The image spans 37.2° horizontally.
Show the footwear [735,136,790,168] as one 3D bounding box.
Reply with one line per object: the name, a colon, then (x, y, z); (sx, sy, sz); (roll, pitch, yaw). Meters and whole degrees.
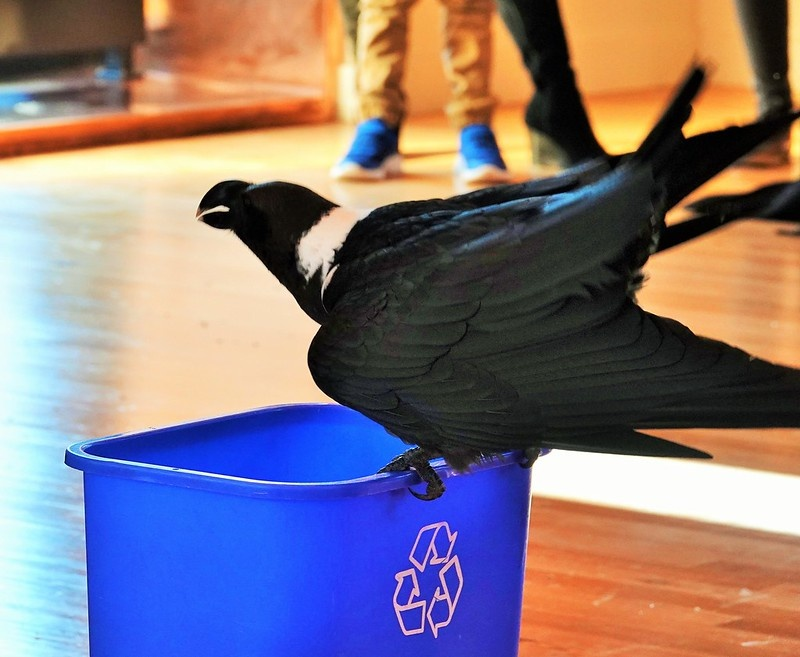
footwear: (0.266, -0.125, 0.855); (0.038, 0.012, 0.024); (-17, 2, 27)
